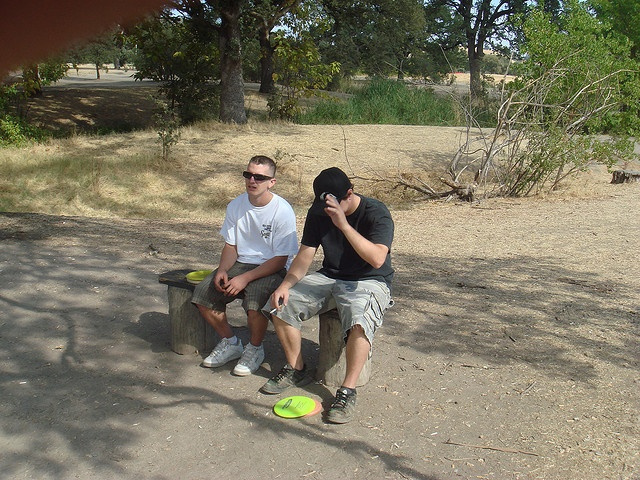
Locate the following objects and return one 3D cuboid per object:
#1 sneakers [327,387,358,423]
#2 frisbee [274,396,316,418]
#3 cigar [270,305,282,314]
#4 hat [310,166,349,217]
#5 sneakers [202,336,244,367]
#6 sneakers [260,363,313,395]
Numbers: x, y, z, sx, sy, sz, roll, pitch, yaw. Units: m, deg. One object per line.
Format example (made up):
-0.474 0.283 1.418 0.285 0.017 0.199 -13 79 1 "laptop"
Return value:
0.176 1.322 4.415 0.140 0.150 0.353 2 0 14 "sneakers"
-0.198 1.371 4.522 0.352 0.088 0.223 4 11 -3 "frisbee"
-0.370 0.591 4.721 0.106 0.081 0.052 5 12 2 "cigar"
0.097 -0.408 4.705 0.341 0.409 0.303 5 12 3 "hat"
-0.885 1.024 5.117 0.153 0.197 0.451 10 12 37 "sneakers"
-0.274 1.174 4.841 0.494 0.220 0.165 -9 21 -33 "sneakers"
